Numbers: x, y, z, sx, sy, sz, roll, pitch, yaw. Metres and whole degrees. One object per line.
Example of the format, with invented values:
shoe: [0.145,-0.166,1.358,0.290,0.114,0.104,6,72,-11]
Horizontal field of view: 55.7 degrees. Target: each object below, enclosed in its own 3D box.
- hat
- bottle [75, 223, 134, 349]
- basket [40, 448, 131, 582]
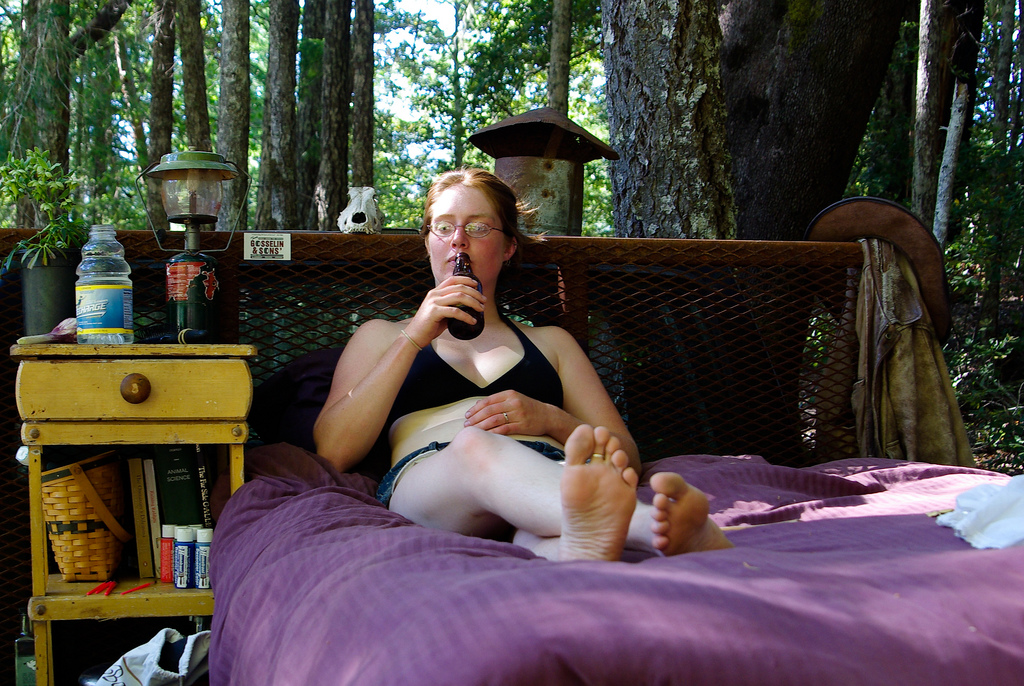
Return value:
hat: [1.914,-0.345,5.134,0.849,1.107,0.272,-5,7,20]
bottle: [-1.773,-0.262,4.239,0.222,0.512,0.347,-2,4,-24]
basket: [-1.874,0.785,4.463,0.481,0.683,0.581,-1,-9,-24]
